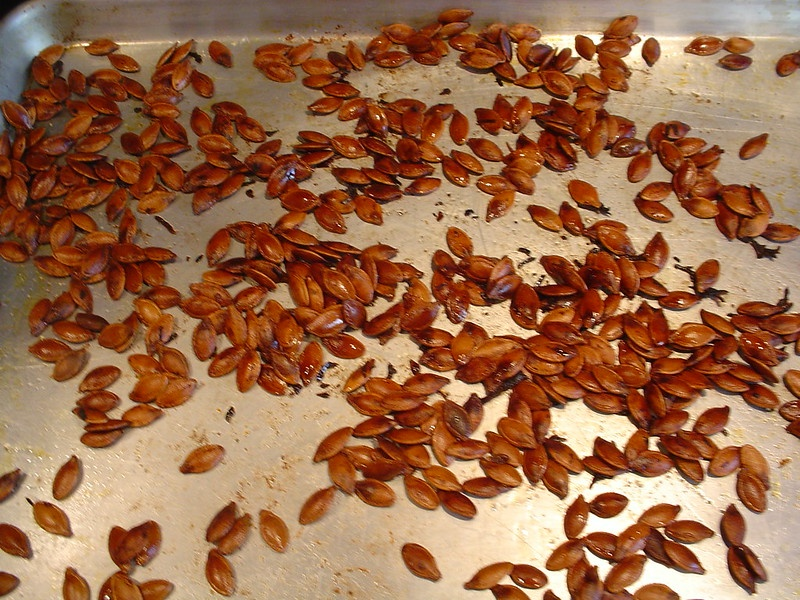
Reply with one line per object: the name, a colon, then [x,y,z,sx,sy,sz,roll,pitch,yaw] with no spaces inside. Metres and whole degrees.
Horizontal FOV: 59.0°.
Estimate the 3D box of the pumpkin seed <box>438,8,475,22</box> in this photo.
pumpkin seed: [0.102,-0.550,1.377,0.057,0.016,0.025,-1,83,4]
